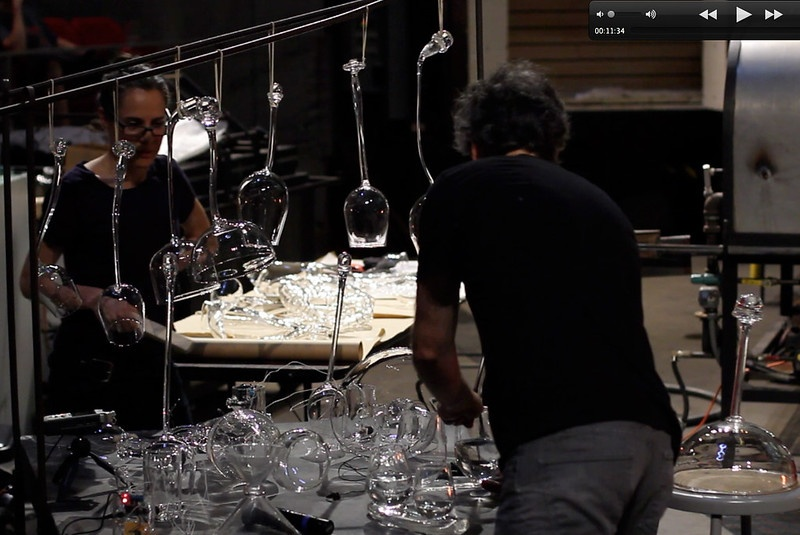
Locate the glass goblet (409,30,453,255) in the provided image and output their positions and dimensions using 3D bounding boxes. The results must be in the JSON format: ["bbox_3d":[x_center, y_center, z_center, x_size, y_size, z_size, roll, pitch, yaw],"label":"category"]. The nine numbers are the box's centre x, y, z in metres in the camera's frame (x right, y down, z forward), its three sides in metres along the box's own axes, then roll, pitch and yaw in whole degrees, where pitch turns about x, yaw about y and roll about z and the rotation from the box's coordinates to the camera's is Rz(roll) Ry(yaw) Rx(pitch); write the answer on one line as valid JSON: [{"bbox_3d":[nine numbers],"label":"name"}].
[{"bbox_3d":[0.142,-0.508,4.076,0.212,0.837,0.197,-1,-13,-10],"label":"glass goblet"}]
